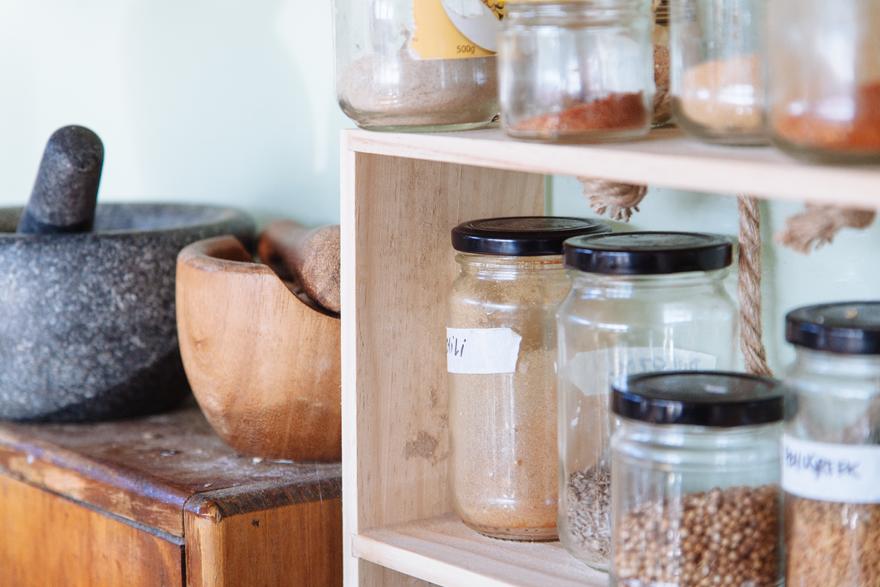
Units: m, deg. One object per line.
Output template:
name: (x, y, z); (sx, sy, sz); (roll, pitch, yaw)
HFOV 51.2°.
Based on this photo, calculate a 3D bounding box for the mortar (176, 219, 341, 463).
mortar: (-0.172, 0.066, 1.211); (0.275, 0.325, 0.266); (0, -4, -2)
